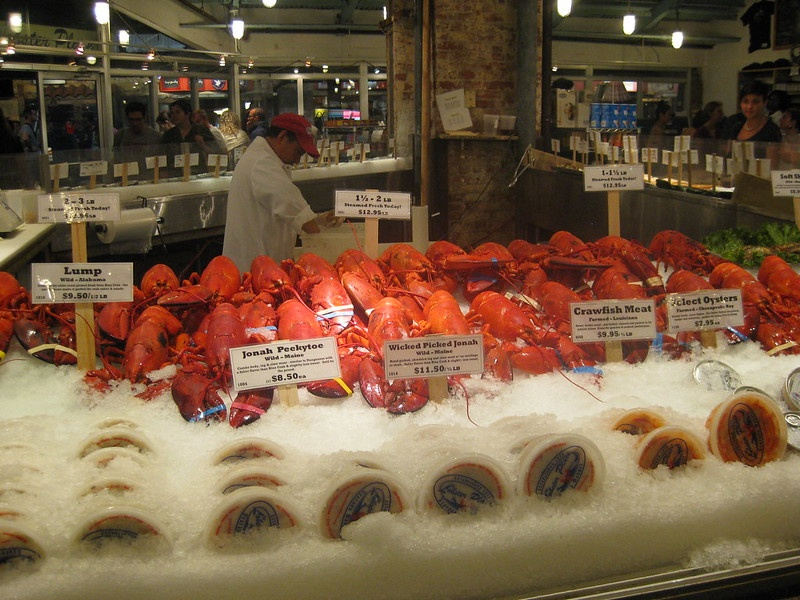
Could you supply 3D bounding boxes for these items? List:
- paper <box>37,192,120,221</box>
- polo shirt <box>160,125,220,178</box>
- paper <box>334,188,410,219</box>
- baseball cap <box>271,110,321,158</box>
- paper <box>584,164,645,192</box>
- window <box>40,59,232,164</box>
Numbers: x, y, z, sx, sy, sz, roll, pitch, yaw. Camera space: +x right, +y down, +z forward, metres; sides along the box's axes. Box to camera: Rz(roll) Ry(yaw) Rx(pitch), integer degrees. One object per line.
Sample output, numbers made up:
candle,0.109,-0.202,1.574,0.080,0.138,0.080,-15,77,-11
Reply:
paper,-1.048,-0.290,2.052,0.210,0.111,0.047,-3,5,-22
polo shirt,-1.760,-1.318,5.361,0.475,0.652,0.168,1,-16,-7
paper,-0.108,-0.362,2.381,0.278,0.120,0.143,-3,11,-6
baseball cap,-0.613,-0.945,3.592,0.234,0.236,0.423,-4,11,-11
paper,0.877,-0.505,2.591,0.219,0.109,0.262,2,12,17
window,-2.946,-2.074,7.251,2.010,1.153,0.047,-4,1,-10
